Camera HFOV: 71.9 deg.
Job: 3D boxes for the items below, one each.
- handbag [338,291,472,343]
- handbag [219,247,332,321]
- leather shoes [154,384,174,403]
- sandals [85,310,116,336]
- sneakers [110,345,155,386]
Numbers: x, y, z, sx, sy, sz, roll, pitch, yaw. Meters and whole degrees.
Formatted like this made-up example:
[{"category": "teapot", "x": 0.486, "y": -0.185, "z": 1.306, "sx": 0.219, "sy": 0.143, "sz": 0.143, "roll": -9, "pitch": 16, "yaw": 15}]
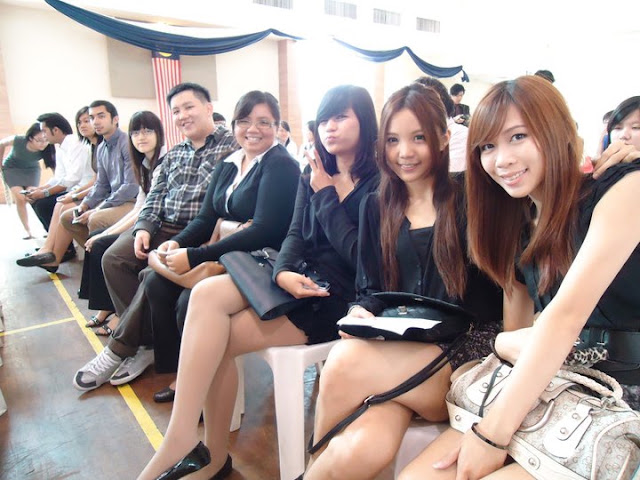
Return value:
[{"category": "handbag", "x": 0.314, "y": 0.283, "z": 1.598, "sx": 0.446, "sy": 0.164, "sz": 0.279, "roll": 6, "pitch": 18, "yaw": 19}, {"category": "handbag", "x": -0.270, "y": 0.196, "z": 2.068, "sx": 0.289, "sy": 0.223, "sz": 0.445, "roll": -10, "pitch": 20, "yaw": -30}, {"category": "leather shoes", "x": -0.874, "y": 0.861, "z": 2.503, "sx": 0.066, "sy": 0.048, "sz": 0.128, "roll": 15, "pitch": 11, "yaw": 34}, {"category": "sandals", "x": -1.677, "y": 0.633, "z": 3.395, "sx": 0.160, "sy": 0.054, "sz": 0.227, "roll": 18, "pitch": 28, "yaw": 24}, {"category": "sneakers", "x": -1.143, "y": 0.762, "z": 2.788, "sx": 0.117, "sy": 0.153, "sz": 0.351, "roll": 24, "pitch": 32, "yaw": 17}]
